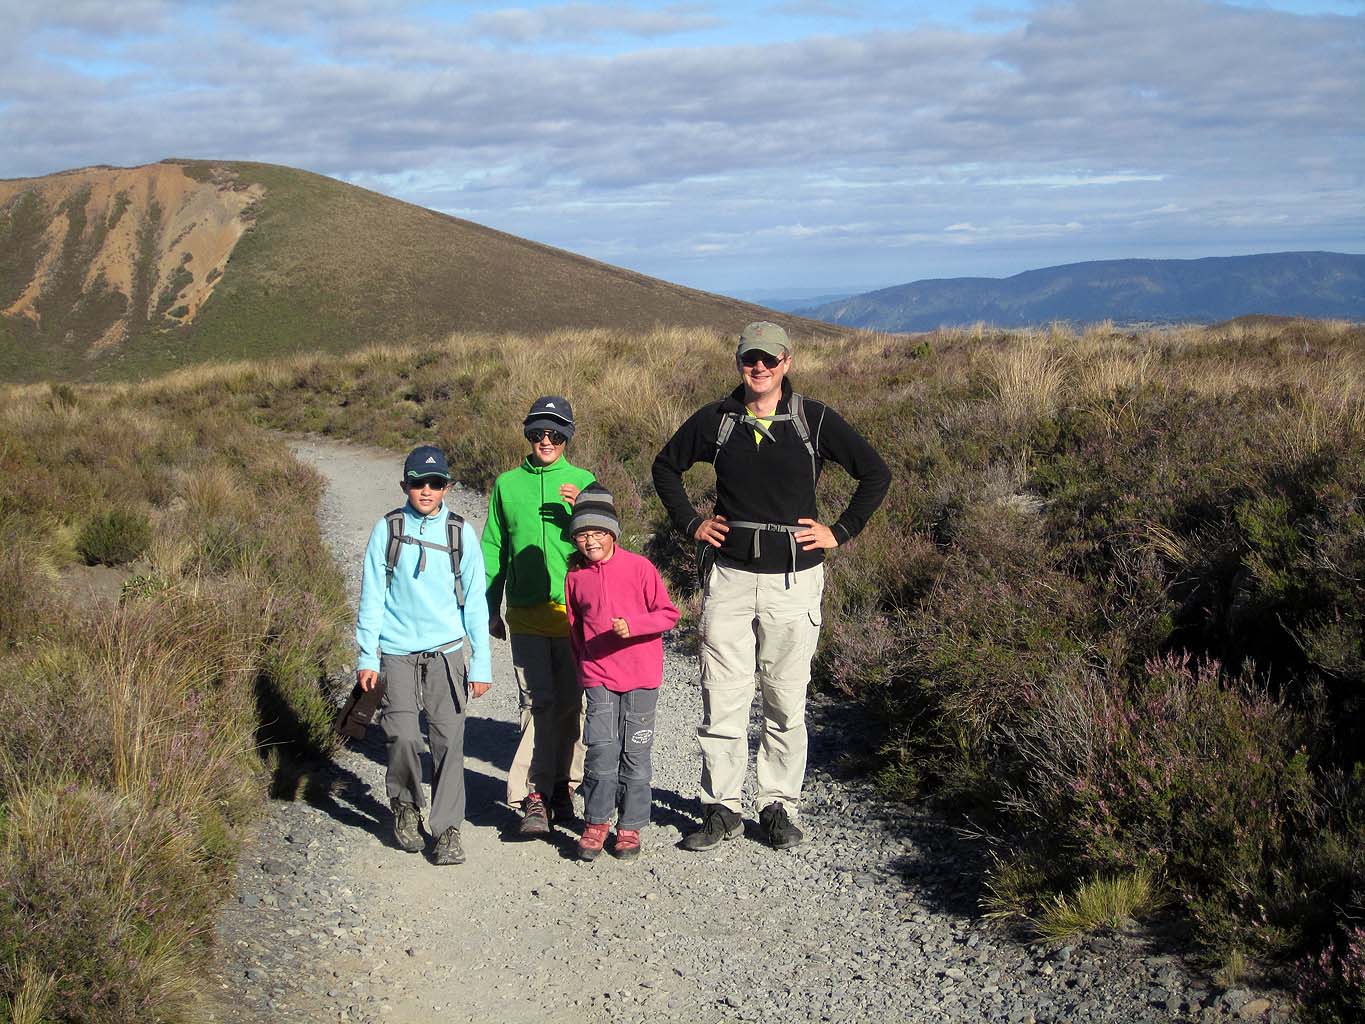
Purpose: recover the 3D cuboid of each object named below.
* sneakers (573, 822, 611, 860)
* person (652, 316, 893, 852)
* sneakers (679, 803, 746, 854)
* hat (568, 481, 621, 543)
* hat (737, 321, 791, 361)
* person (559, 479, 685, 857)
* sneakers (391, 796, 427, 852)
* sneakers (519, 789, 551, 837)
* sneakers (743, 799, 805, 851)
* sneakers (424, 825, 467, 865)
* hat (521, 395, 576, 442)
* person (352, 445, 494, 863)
[{"bbox_3d":[-0.573,2.076,6.827,0.120,0.148,0.306,0,-3,4],"label":"sneakers"},{"bbox_3d":[0.519,0.498,6.832,1.268,3.357,0.685,-4,15,-4],"label":"person"},{"bbox_3d":[0.167,2.030,6.984,0.188,0.268,0.512,-5,-5,39],"label":"sneakers"},{"bbox_3d":[-0.558,-0.017,6.721,0.230,0.351,0.346,-1,-11,-2],"label":"hat"},{"bbox_3d":[0.484,-1.062,6.602,0.292,0.251,0.420,0,18,10],"label":"hat"},{"bbox_3d":[-0.387,1.038,6.771,0.651,2.314,0.510,-3,15,-1],"label":"person"},{"bbox_3d":[-1.761,1.993,6.927,0.159,0.193,0.386,-2,6,-33],"label":"sneakers"},{"bbox_3d":[-0.980,2.008,7.101,0.132,0.188,0.376,0,-13,-4],"label":"sneakers"},{"bbox_3d":[0.612,2.047,7.044,0.156,0.200,0.391,0,-9,-19],"label":"sneakers"},{"bbox_3d":[-1.481,2.106,6.867,0.263,0.316,0.177,0,-3,13],"label":"sneakers"},{"bbox_3d":[-0.886,-0.610,7.093,0.312,0.302,0.318,-7,17,-12],"label":"hat"},{"bbox_3d":[-1.602,0.913,6.784,0.752,2.611,0.780,0,16,9],"label":"person"}]
